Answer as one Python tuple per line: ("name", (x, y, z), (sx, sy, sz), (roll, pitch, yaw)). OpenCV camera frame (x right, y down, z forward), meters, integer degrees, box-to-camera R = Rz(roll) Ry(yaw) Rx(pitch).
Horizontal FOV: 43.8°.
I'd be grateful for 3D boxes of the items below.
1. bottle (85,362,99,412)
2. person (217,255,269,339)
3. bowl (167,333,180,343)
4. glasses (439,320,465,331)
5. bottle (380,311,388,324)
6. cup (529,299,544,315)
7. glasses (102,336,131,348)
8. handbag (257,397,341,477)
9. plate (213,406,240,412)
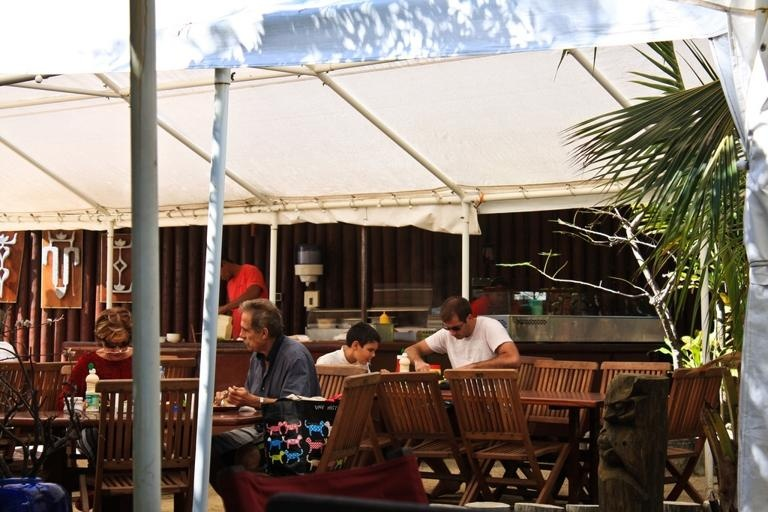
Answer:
("bottle", (-2.126, 0.965, 7.000), (0.094, 0.348, 0.567), (-2, -5, -17))
("person", (-1.530, 0.448, 10.451), (0.419, 0.400, 0.948), (-7, 22, -19))
("bowl", (-2.586, 1.012, 11.818), (0.166, 0.101, 0.307), (-2, -5, -15))
("glasses", (0.639, 0.637, 8.679), (0.166, 0.081, 0.127), (-7, -6, 36))
("bottle", (0.007, 0.725, 10.929), (0.099, 0.108, 0.098), (0, 2, -6))
("cup", (1.562, 0.524, 9.830), (0.147, 0.167, 0.149), (-1, -4, 0))
("glasses", (-2.027, 0.666, 7.313), (0.118, 0.086, 0.119), (2, 3, 17))
("handbag", (-0.531, 1.191, 6.218), (0.418, 0.466, 0.276), (13, 6, -12))
("plate", (-1.143, 1.119, 6.969), (0.167, 0.041, 0.116), (-2, -5, -11))
